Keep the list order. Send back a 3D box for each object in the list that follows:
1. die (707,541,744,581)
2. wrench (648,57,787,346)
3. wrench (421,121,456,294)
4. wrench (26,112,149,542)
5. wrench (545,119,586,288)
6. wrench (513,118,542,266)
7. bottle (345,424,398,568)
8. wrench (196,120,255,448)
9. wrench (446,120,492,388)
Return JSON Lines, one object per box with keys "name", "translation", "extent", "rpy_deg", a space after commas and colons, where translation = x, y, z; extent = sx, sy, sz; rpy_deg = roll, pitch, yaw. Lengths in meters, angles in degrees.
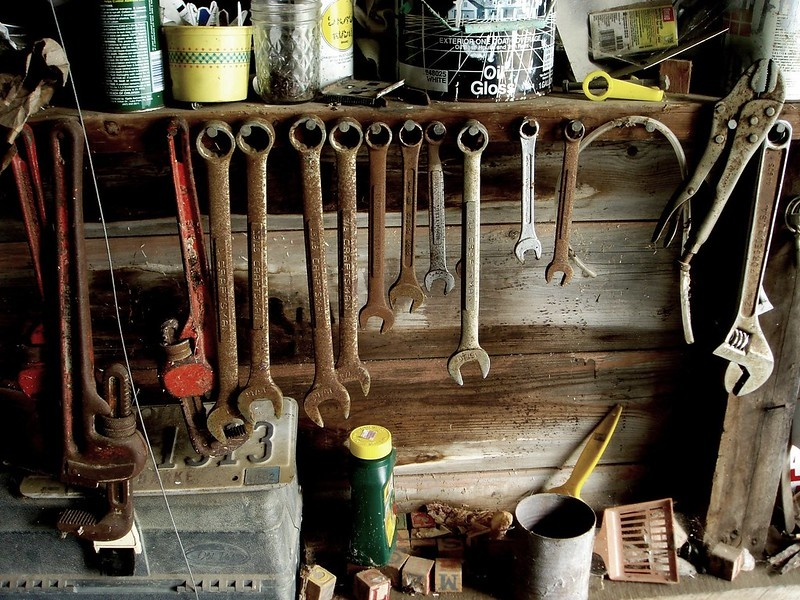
{"name": "die", "translation": [0.869, 0.702, 2.062], "extent": [0.085, 0.073, 0.075], "rpy_deg": [6, 18, 24]}
{"name": "wrench", "translation": [0.684, -0.197, 1.688], "extent": [0.251, 0.626, 0.069], "rpy_deg": [-5, 17, -9]}
{"name": "wrench", "translation": [0.087, -0.194, 1.673], "extent": [0.076, 0.373, 0.028], "rpy_deg": [3, 7, 32]}
{"name": "wrench", "translation": [-0.654, 0.095, 1.606], "extent": [0.213, 0.914, 0.218], "rpy_deg": [11, 21, 36]}
{"name": "wrench", "translation": [0.350, -0.209, 1.701], "extent": [0.062, 0.369, 0.039], "rpy_deg": [7, 18, 1]}
{"name": "wrench", "translation": [0.276, -0.238, 1.672], "extent": [0.055, 0.310, 0.047], "rpy_deg": [-2, 17, 0]}
{"name": "bottle", "translation": [-0.073, 0.513, 1.978], "extent": [0.103, 0.363, 0.101], "rpy_deg": [-2, 17, 1]}
{"name": "wrench", "translation": [-0.368, -0.019, 1.633], "extent": [0.106, 0.626, 0.067], "rpy_deg": [-5, 10, -27]}
{"name": "wrench", "translation": [0.153, -0.097, 1.707], "extent": [0.087, 0.590, 0.084], "rpy_deg": [6, 19, 24]}
